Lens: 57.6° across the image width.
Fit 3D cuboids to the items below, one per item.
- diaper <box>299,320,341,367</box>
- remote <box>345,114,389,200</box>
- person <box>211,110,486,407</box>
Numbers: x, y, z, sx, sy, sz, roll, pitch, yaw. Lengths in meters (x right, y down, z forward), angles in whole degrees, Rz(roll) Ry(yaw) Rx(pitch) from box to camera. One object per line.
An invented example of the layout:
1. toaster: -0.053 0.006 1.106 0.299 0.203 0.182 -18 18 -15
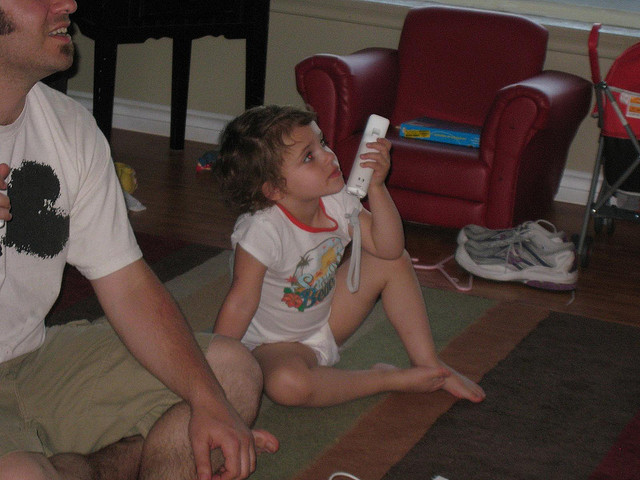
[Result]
1. diaper: 0.005 0.292 1.660 0.050 0.128 0.090 -11 -9 -46
2. remote: 0.123 -0.221 1.555 0.073 0.282 0.082 17 1 0
3. person: 0.014 -0.035 1.820 0.812 0.988 0.675 14 28 30
